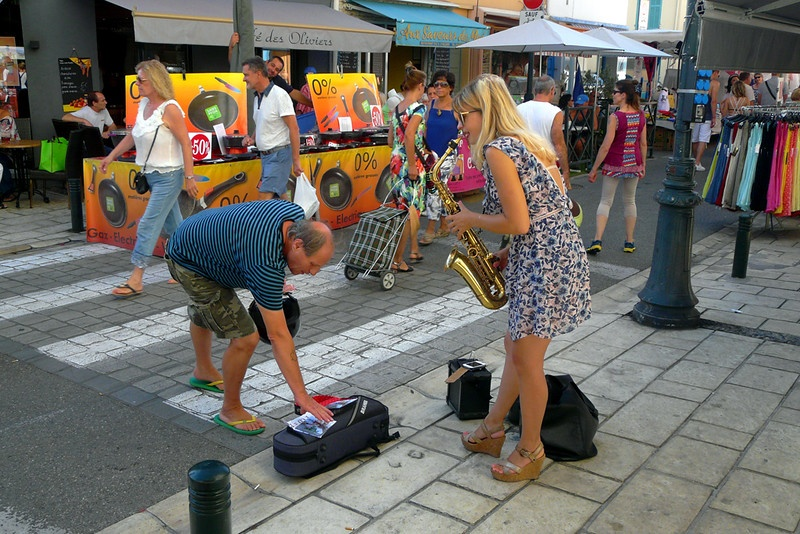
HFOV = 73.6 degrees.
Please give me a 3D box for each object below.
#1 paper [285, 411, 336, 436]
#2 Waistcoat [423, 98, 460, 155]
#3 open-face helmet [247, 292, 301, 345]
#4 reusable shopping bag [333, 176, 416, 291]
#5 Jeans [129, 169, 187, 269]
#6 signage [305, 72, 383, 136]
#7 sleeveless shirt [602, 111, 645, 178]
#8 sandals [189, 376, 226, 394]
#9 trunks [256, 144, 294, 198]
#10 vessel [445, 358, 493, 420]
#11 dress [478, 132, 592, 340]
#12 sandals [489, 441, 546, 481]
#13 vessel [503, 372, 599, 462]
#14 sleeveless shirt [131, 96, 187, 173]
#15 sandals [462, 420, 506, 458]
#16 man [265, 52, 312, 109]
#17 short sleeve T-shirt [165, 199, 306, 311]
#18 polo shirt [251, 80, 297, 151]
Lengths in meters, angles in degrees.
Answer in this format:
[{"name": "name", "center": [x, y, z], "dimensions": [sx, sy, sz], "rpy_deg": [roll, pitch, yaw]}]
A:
[{"name": "paper", "center": [-0.607, 1.082, 3.651], "dimensions": [0.200, 0.033, 0.229], "rpy_deg": [15, 26, 26]}, {"name": "Waistcoat", "center": [0.648, -2.038, 7.968], "dimensions": [0.544, 0.778, 0.463], "rpy_deg": [0, 26, 5]}, {"name": "open-face helmet", "center": [-0.937, 0.402, 4.100], "dimensions": [0.341, 0.429, 0.201], "rpy_deg": [0, -18, -11]}, {"name": "reusable shopping bag", "center": [-0.308, -0.287, 7.230], "dimensions": [0.739, 0.948, 0.741], "rpy_deg": [10, 22, 32]}, {"name": "Jeans", "center": [-3.027, -0.637, 6.891], "dimensions": [0.421, 1.275, 0.717], "rpy_deg": [-12, -13, 34]}, {"name": "signage", "center": [-1.090, -3.166, 10.288], "dimensions": [1.432, 1.060, 0.023], "rpy_deg": [-2, 12, 7]}, {"name": "sleeveless shirt", "center": [3.493, -1.913, 8.307], "dimensions": [0.643, 0.958, 0.435], "rpy_deg": [-3, 19, -2]}, {"name": "sandals", "center": [-1.678, 1.024, 4.698], "dimensions": [0.320, 0.078, 0.141], "rpy_deg": [9, 21, 15]}, {"name": "trunks", "center": [-1.794, -1.383, 7.858], "dimensions": [0.451, 0.749, 0.557], "rpy_deg": [0, -2, -21]}, {"name": "vessel", "center": [0.501, 0.945, 4.406], "dimensions": [0.388, 0.485, 0.491], "rpy_deg": [0, 12, -11]}, {"name": "dress", "center": [0.859, -0.161, 3.336], "dimensions": [0.688, 1.263, 0.488], "rpy_deg": [0, 19, 8]}, {"name": "sandals", "center": [0.790, 1.324, 3.690], "dimensions": [0.360, 0.258, 0.196], "rpy_deg": [1, 4, -2]}, {"name": "vessel", "center": [1.066, 1.093, 3.952], "dimensions": [0.689, 0.495, 0.487], "rpy_deg": [-5, 10, -17]}, {"name": "sleeveless shirt", "center": [-3.003, -1.621, 6.595], "dimensions": [0.625, 0.880, 0.340], "rpy_deg": [7, 21, 25]}, {"name": "sandals", "center": [0.624, 1.226, 3.973], "dimensions": [0.329, 0.250, 0.179], "rpy_deg": [12, 13, 29]}, {"name": "man", "center": [-2.145, -3.306, 9.278], "dimensions": [0.576, 0.725, 1.614], "rpy_deg": [-6, 32, -12]}, {"name": "short sleeve T-shirt", "center": [-1.153, -0.172, 3.604], "dimensions": [0.850, 0.454, 0.702], "rpy_deg": [18, 37, 11]}, {"name": "polo shirt", "center": [-1.781, -2.117, 7.559], "dimensions": [0.592, 0.888, 0.321], "rpy_deg": [-2, 19, 2]}]
